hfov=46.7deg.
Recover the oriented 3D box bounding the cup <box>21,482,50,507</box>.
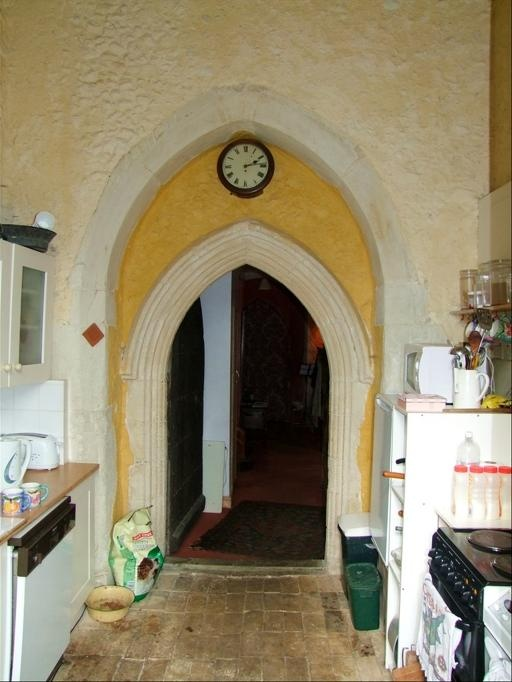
[{"bbox_3d":[-0.992,0.692,2.652,0.075,0.088,0.119,-2,-6,28],"label":"cup"}]

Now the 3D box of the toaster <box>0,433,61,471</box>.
[{"bbox_3d":[-1.133,0.577,3.129,0.335,0.216,0.178,3,1,1],"label":"toaster"}]

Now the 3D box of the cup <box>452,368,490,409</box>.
[{"bbox_3d":[0.953,0.211,2.608,0.199,0.192,0.122,1,-2,13],"label":"cup"}]

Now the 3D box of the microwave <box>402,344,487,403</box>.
[{"bbox_3d":[0.910,0.150,2.868,0.344,0.312,0.185,1,-3,5],"label":"microwave"}]

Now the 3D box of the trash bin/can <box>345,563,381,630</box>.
[{"bbox_3d":[0.560,1.417,3.186,0.182,0.216,0.310,4,-18,-9],"label":"trash bin/can"}]
